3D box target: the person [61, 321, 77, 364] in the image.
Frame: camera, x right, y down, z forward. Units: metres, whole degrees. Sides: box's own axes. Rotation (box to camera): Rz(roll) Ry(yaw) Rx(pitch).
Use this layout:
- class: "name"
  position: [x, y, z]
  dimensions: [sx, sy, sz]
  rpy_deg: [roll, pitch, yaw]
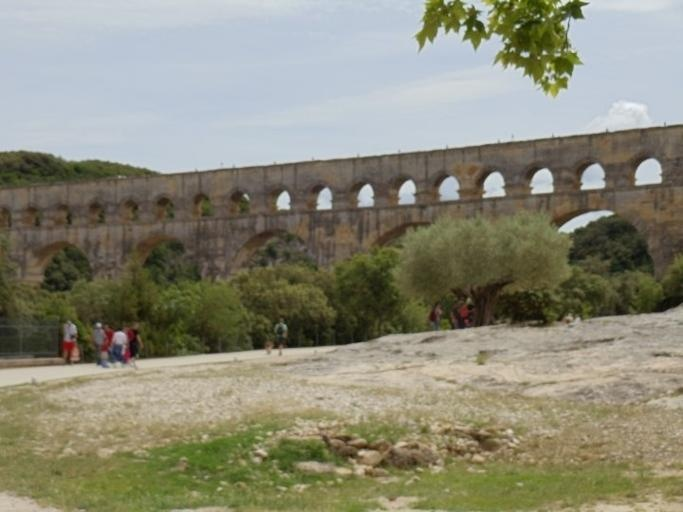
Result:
- class: "person"
  position: [-7.818, 2.442, 36.535]
  dimensions: [0.381, 1.158, 0.842]
  rpy_deg: [-3, 13, -10]
